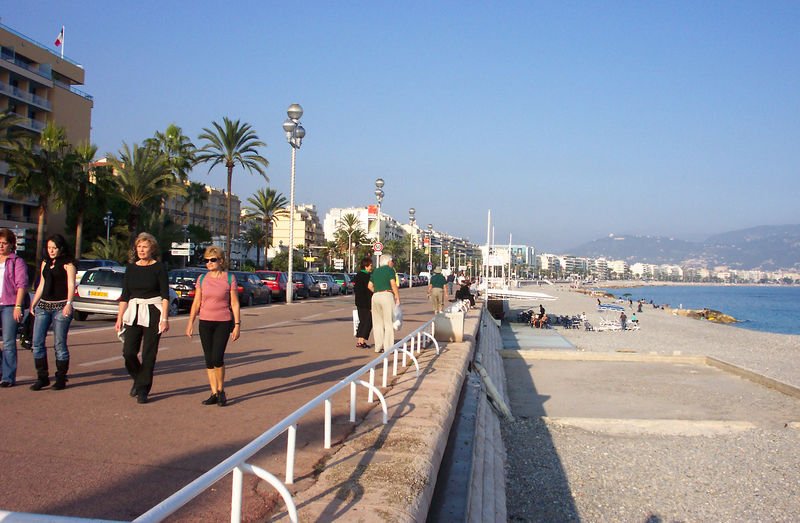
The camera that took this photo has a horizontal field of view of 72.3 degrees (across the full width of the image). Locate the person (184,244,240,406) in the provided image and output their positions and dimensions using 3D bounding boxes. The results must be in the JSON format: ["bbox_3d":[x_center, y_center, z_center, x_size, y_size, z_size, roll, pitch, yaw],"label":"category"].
[{"bbox_3d":[-2.679,0.904,7.911,0.679,2.058,0.763,2,0,-19],"label":"person"}]

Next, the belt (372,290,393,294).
[{"bbox_3d":[-0.361,0.658,12.269,0.400,0.056,0.068,2,0,14],"label":"belt"}]

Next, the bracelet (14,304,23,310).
[{"bbox_3d":[-5.664,0.670,8.173,0.078,0.069,0.064,2,0,-30],"label":"bracelet"}]

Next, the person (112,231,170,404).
[{"bbox_3d":[-3.689,0.793,7.887,0.644,2.174,0.811,2,0,-26],"label":"person"}]

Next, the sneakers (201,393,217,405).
[{"bbox_3d":[-2.765,1.993,7.955,0.304,0.125,0.102,0,-1,18],"label":"sneakers"}]

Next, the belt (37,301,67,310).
[{"bbox_3d":[-5.184,0.641,8.167,0.398,0.120,0.086,2,0,3],"label":"belt"}]

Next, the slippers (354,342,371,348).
[{"bbox_3d":[-0.910,2.115,13.943,0.146,0.151,0.398,3,1,41],"label":"slippers"}]

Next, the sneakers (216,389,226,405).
[{"bbox_3d":[-2.541,1.957,7.840,0.093,0.146,0.234,3,3,1],"label":"sneakers"}]

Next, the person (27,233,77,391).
[{"bbox_3d":[-5.234,0.754,8.314,0.529,2.000,0.677,2,0,-32],"label":"person"}]

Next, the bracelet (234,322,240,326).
[{"bbox_3d":[-2.286,0.875,7.717,0.054,0.039,0.054,-2,3,-14],"label":"bracelet"}]
